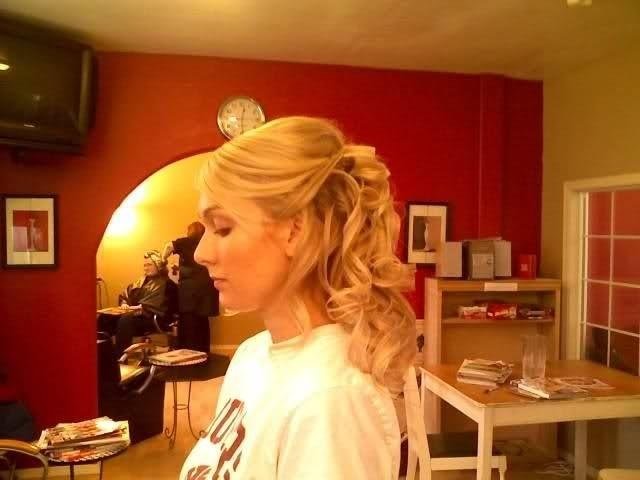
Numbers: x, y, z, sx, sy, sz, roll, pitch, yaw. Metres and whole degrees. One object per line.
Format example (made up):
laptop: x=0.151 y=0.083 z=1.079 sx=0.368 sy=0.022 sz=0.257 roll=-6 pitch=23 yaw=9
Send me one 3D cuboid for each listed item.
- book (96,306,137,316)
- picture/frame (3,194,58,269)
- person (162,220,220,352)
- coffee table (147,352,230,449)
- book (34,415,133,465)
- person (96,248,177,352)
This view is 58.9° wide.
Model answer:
book: x=-2.428 y=0.850 z=6.836 sx=0.224 sy=0.057 sz=0.244 roll=1 pitch=0 yaw=9
picture/frame: x=-2.375 y=-0.077 z=4.612 sx=0.570 sy=0.814 sz=0.059 roll=0 pitch=1 yaw=-3
person: x=-1.494 y=0.665 z=6.612 sx=0.607 sy=1.848 sz=0.572 roll=-3 pitch=20 yaw=-24
coffee table: x=-1.247 y=1.352 z=5.198 sx=0.732 sy=0.512 sz=0.781 roll=2 pitch=0 yaw=40
book: x=-1.495 y=1.275 z=3.596 sx=0.532 sy=0.259 sz=0.317 roll=-3 pitch=-1 yaw=-19
person: x=-2.252 y=0.822 z=6.825 sx=0.712 sy=1.326 sz=0.755 roll=8 pitch=0 yaw=42
